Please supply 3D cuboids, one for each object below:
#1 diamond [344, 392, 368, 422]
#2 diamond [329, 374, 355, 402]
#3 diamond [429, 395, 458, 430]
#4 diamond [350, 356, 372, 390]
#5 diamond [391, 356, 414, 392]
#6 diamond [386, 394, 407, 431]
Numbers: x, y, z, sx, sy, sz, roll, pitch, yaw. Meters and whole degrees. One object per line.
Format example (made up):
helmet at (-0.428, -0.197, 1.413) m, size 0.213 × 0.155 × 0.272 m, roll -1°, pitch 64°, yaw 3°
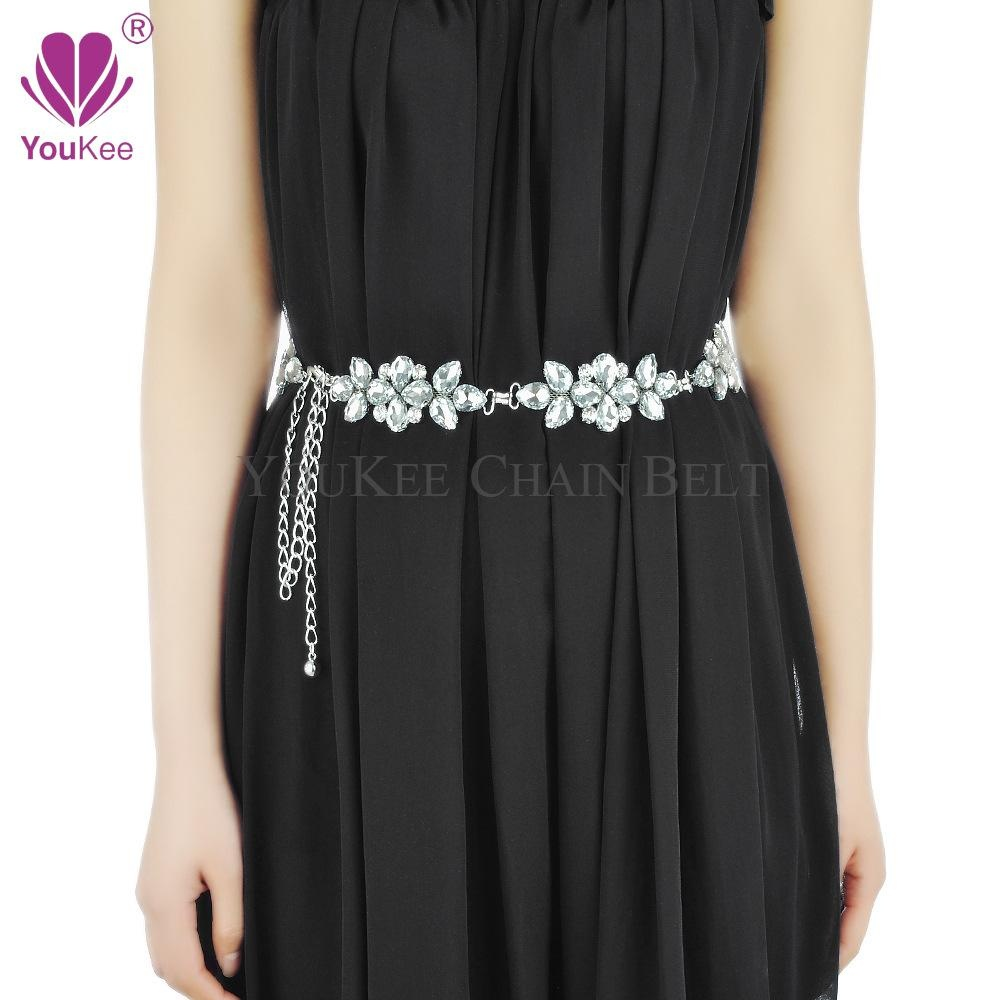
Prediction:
diamond at (-0.166, -0.104, 1.373) m, size 0.020 × 0.038 × 0.009 m, roll 6°, pitch -2°, yaw 29°
diamond at (-0.185, -0.128, 1.392) m, size 0.022 × 0.036 × 0.010 m, roll 1°, pitch -2°, yaw 26°
diamond at (-0.064, -0.096, 1.348) m, size 0.031 × 0.037 × 0.011 m, roll 0°, pitch 7°, yaw -12°
diamond at (-0.160, -0.144, 1.370) m, size 0.022 × 0.037 × 0.009 m, roll 1°, pitch 8°, yaw 33°
diamond at (-0.112, -0.141, 1.349) m, size 0.024 × 0.040 × 0.009 m, roll 5°, pitch 8°, yaw 14°
diamond at (-0.120, -0.099, 1.346) m, size 0.023 × 0.038 × 0.009 m, roll 0°, pitch 3°, yaw 22°
